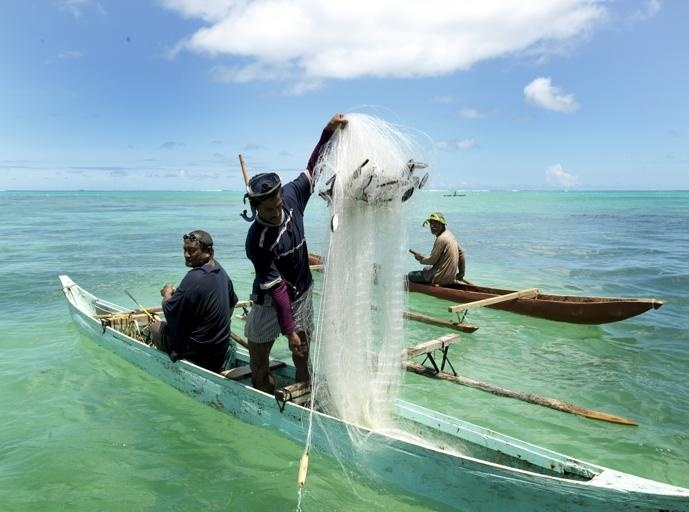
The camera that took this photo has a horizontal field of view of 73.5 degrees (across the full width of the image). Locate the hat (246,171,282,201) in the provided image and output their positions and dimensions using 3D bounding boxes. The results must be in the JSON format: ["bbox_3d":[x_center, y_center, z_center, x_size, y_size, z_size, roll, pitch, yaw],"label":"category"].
[{"bbox_3d":[-0.839,-0.721,4.741,0.363,0.249,0.228,0,14,-3],"label":"hat"}]

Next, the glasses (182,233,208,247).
[{"bbox_3d":[-1.984,-0.179,6.174,0.221,0.060,0.211,25,-12,-38],"label":"glasses"}]

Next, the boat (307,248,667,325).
[{"bbox_3d":[3.806,0.727,10.615,7.751,0.684,1.293,7,0,38],"label":"boat"}]
